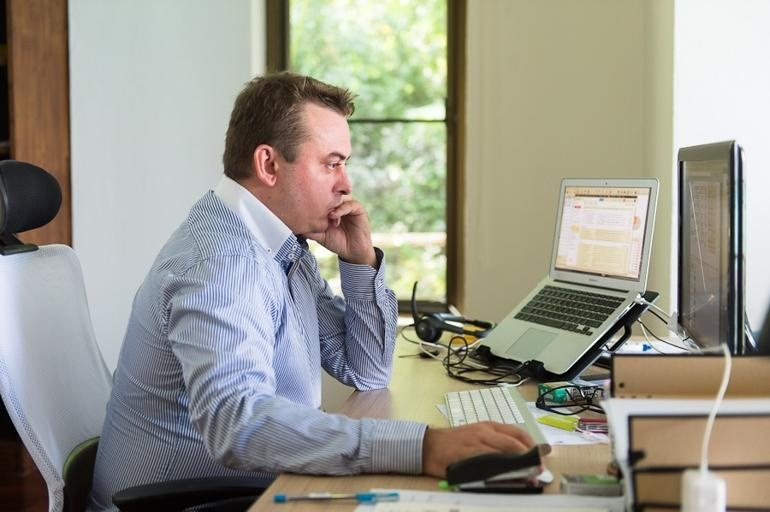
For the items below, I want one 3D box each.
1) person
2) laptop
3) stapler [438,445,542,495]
[{"bbox_3d":[-0.301,0.169,1.672,0.841,1.183,1.192,8,6,-7],"label":"person"},{"bbox_3d":[0.551,0.026,1.898,0.580,0.404,0.442,-25,19,-15],"label":"laptop"},{"bbox_3d":[0.216,0.420,1.238,0.232,0.090,0.071,-4,15,7],"label":"stapler"}]
